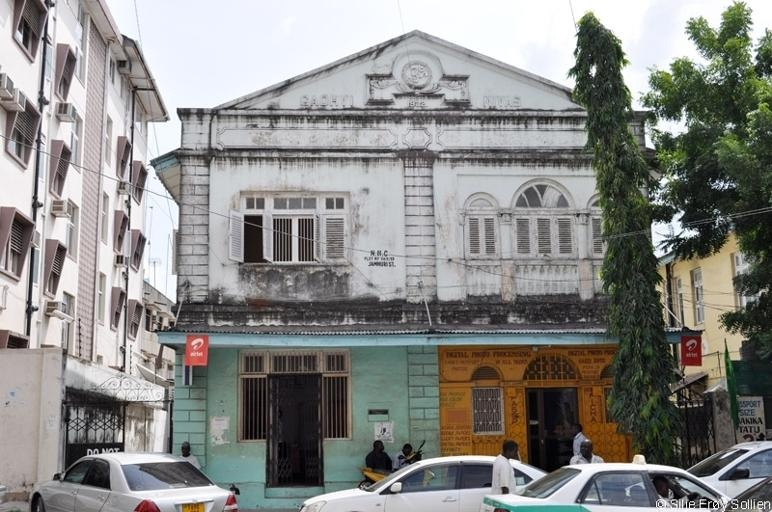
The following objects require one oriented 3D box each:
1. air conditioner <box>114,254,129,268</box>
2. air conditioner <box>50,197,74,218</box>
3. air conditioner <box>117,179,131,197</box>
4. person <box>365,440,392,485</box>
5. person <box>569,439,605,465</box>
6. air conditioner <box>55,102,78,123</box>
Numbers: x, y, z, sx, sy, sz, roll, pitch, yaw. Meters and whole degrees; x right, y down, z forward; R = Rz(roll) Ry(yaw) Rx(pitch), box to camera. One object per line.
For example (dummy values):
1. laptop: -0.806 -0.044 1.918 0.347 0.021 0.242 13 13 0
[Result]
1. air conditioner: -11.012 0.170 44.630 0.358 0.654 0.966 0 -17 -5
2. air conditioner: -11.287 -1.721 37.134 0.500 0.654 0.983 -2 -10 -3
3. air conditioner: -10.832 -2.851 44.207 0.506 0.691 0.688 -5 -4 1
4. person: -0.168 6.225 32.362 0.738 1.377 0.742 -6 -19 -12
5. person: 5.365 5.317 28.756 1.040 0.761 0.656 -1 -34 7
6. air conditioner: -11.152 -4.985 37.368 0.534 0.697 0.994 -1 -8 -1
